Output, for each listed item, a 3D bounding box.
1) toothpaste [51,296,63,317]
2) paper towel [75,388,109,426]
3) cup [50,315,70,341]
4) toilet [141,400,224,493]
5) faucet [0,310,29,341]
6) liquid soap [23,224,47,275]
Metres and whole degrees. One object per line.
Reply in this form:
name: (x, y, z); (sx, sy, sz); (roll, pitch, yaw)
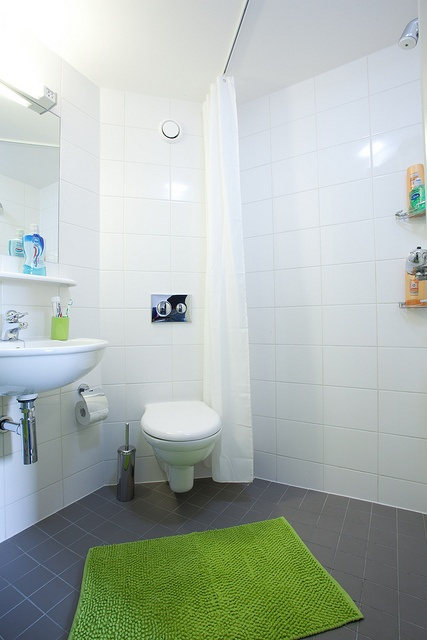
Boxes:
toothpaste: (-0.644, -0.054, 1.806); (0.036, 0.083, 0.051); (-2, 5, -27)
paper towel: (-0.550, 0.392, 1.924); (0.132, 0.199, 0.140); (-1, -3, -4)
cup: (-0.626, 0.032, 1.792); (0.066, 0.094, 0.100); (-2, 5, -26)
toilet: (-0.159, 0.561, 2.021); (0.324, 0.409, 0.554); (-2, 14, -12)
faucet: (-0.742, 0.022, 1.619); (0.102, 0.143, 0.074); (-9, -10, 23)
liquid soap: (-0.714, -0.280, 1.760); (0.053, 0.198, 0.130); (2, 5, 24)
